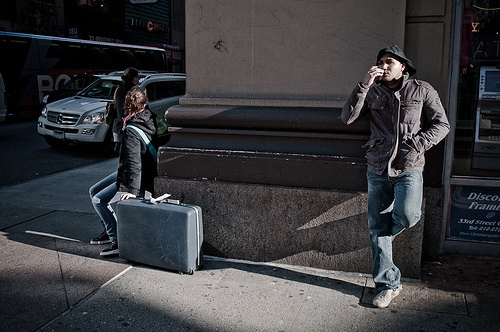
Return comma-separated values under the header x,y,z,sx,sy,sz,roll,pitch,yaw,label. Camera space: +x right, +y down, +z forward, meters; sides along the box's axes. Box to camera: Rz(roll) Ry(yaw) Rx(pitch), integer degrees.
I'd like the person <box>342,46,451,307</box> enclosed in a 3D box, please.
x,y,z,sx,sy,sz,roll,pitch,yaw,label
1.601,0.097,4.461,0.786,2.737,0.763,-9,17,-29,person

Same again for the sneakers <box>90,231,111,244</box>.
x,y,z,sx,sy,sz,roll,pitch,yaw,label
-2.196,1.081,5.989,0.364,0.154,0.122,4,1,-21,sneakers

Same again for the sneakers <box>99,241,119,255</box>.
x,y,z,sx,sy,sz,roll,pitch,yaw,label
-1.989,1.138,5.587,0.382,0.165,0.130,1,0,13,sneakers

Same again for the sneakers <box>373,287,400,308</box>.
x,y,z,sx,sy,sz,roll,pitch,yaw,label
1.552,1.434,4.491,0.362,0.141,0.134,-11,17,-41,sneakers

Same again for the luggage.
x,y,z,sx,sy,sz,roll,pitch,yaw,label
-1.185,0.884,5.221,1.107,0.863,0.397,6,11,22,luggage

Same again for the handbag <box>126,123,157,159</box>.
x,y,z,sx,sy,sz,roll,pitch,yaw,label
-1.446,-0.325,5.442,0.424,0.113,0.329,51,13,12,handbag
